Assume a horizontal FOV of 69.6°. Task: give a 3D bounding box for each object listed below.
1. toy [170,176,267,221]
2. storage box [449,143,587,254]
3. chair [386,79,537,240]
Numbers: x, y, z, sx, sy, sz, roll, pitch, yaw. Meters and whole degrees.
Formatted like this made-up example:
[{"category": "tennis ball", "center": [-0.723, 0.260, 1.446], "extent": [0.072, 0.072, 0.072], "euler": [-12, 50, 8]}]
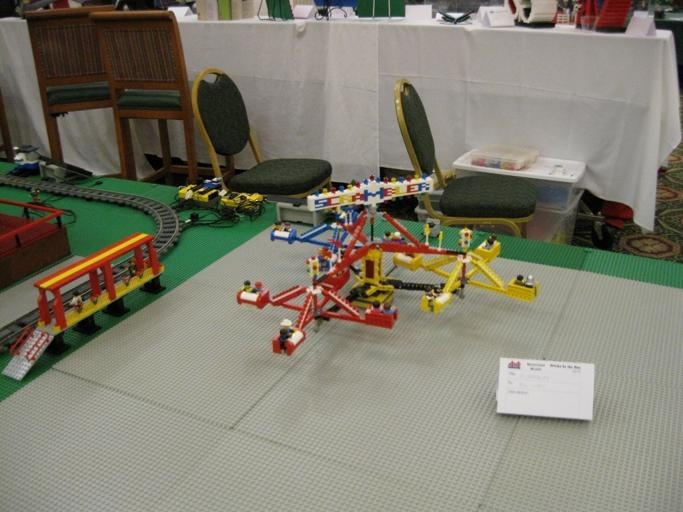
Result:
[{"category": "toy", "center": [-0.788, -0.365, 3.223], "extent": [0.420, 0.125, 0.324], "euler": [15, 27, 22]}, {"category": "storage box", "center": [1.160, -0.456, 3.413], "extent": [0.933, 0.672, 0.511], "euler": [11, 29, 23]}, {"category": "chair", "center": [0.805, -0.633, 3.095], "extent": [0.707, 1.147, 0.593], "euler": [3, 42, 26]}]
